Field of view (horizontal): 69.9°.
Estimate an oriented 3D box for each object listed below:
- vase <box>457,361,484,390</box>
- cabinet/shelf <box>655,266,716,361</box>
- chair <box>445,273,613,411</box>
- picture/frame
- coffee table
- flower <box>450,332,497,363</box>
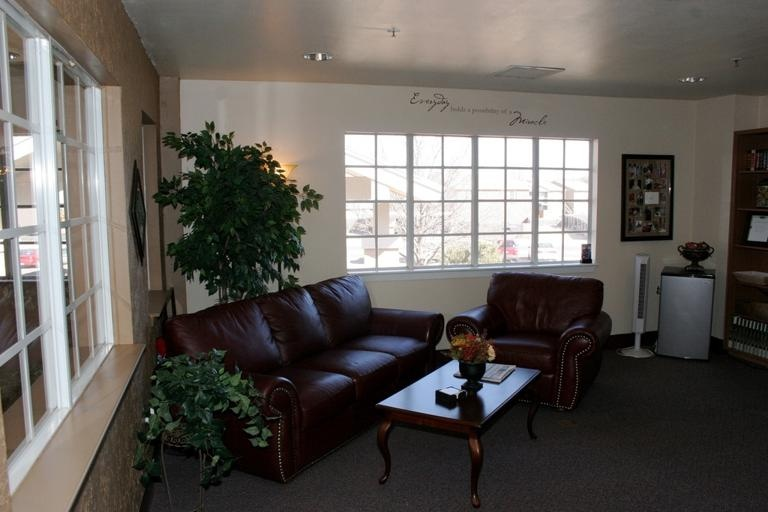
[{"bbox_3d":[0.730,0.974,4.541,0.228,0.226,0.229,-2,-4,20],"label":"vase"},{"bbox_3d":[3.765,0.753,6.884,0.587,1.051,0.240,5,13,26],"label":"cabinet/shelf"},{"bbox_3d":[1.617,0.855,5.956,1.587,1.141,1.258,3,10,40],"label":"chair"},{"bbox_3d":[3.555,-0.782,7.424,0.779,1.157,0.168,-3,12,-10],"label":"picture/frame"},{"bbox_3d":[0.516,1.132,4.418,0.847,0.587,1.340,2,7,30],"label":"coffee table"},{"bbox_3d":[0.743,0.775,4.639,0.289,0.171,0.296,5,-2,5],"label":"flower"}]
